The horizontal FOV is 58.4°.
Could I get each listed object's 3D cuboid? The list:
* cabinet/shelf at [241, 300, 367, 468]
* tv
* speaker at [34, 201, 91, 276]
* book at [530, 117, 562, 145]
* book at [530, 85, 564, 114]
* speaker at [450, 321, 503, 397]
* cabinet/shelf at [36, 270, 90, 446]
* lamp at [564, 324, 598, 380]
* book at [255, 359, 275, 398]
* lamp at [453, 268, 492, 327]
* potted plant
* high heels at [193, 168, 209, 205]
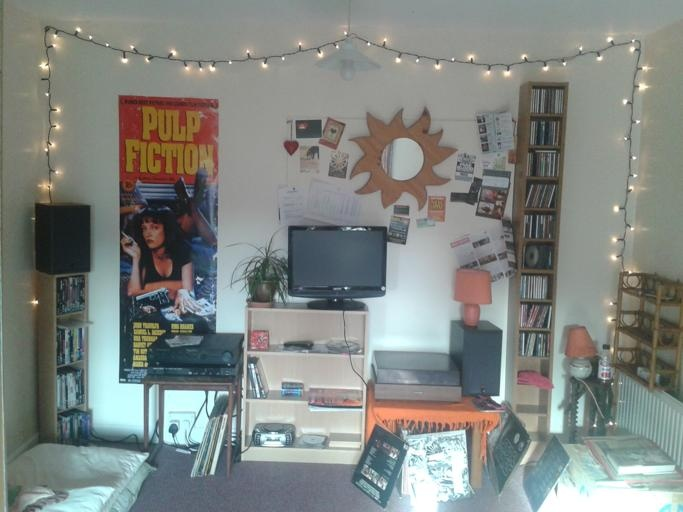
[{"bbox_3d":[-0.285,0.962,4.679,1.126,1.500,0.464,0,-1,-2],"label":"cabinet/shelf"},{"bbox_3d":[-0.038,0.068,4.593,0.584,0.527,0.166,1,4,0],"label":"tv"},{"bbox_3d":[-2.040,-0.130,4.492,0.364,0.514,0.200,0,2,-20],"label":"speaker"},{"bbox_3d":[1.496,-0.917,4.560,0.228,0.243,0.174,1,0,2],"label":"book"},{"bbox_3d":[1.516,-1.162,4.505,0.191,0.200,0.102,0,1,0],"label":"book"},{"bbox_3d":[1.006,0.764,4.645,0.328,0.533,0.332,1,2,0],"label":"speaker"},{"bbox_3d":[-2.097,0.761,4.652,0.377,1.286,0.239,0,2,-32],"label":"cabinet/shelf"},{"bbox_3d":[1.822,0.736,4.693,0.233,0.411,0.313,2,2,22],"label":"lamp"},{"bbox_3d":[-0.586,0.936,4.695,0.052,0.240,0.243,-8,20,-1],"label":"book"},{"bbox_3d":[0.983,0.308,4.632,0.256,0.422,0.309,1,2,8],"label":"lamp"},{"bbox_3d":[-0.596,0.075,4.685,0.445,0.557,0.534,2,-5,0],"label":"potted plant"},{"bbox_3d":[-1.078,-0.541,4.733,0.126,0.249,0.084,4,3,-30],"label":"high heels"}]
